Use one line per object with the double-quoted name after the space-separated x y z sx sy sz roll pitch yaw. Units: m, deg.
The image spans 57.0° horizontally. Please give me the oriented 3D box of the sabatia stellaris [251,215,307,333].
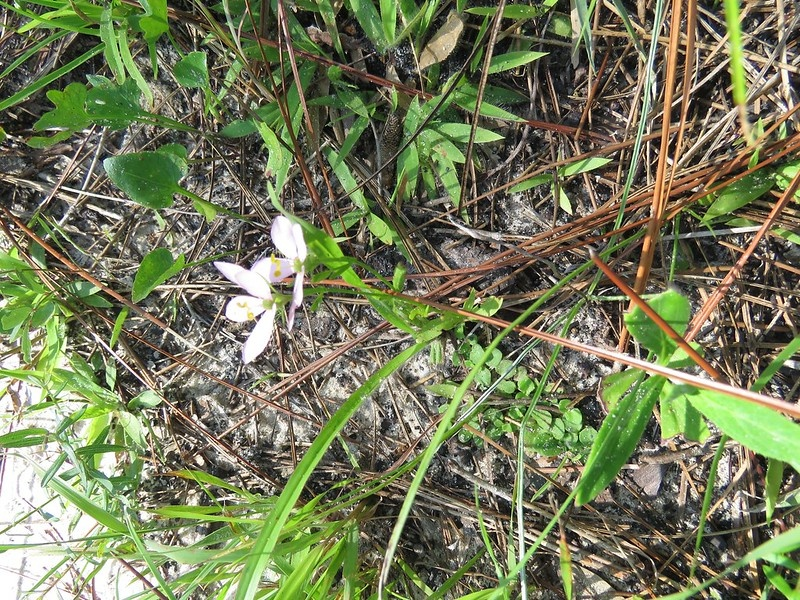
-0.310 -0.092 2.042 0.110 0.233 0.276 -13 79 -38 "sabatia stellaris"
